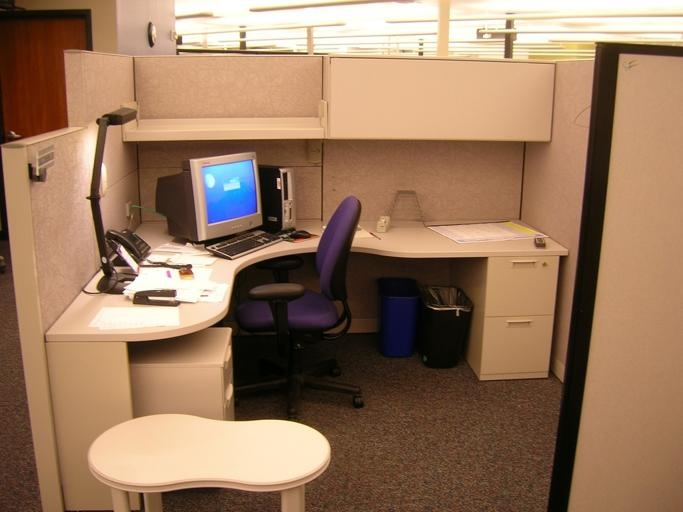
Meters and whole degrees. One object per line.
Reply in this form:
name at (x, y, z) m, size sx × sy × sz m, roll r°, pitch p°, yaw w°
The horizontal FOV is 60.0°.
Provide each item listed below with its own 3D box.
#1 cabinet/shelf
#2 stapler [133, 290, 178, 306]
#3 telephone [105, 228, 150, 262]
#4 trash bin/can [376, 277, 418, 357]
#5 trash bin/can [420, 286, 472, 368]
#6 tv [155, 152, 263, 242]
cabinet/shelf at (-0.652, 0.462, 2.484) m, size 0.358 × 0.325 × 0.351 m, roll -2°, pitch 9°, yaw -3°
stapler at (-0.753, 0.171, 2.436) m, size 0.190 × 0.042 × 0.096 m, roll 1°, pitch 17°, yaw 6°
telephone at (-1.028, -0.066, 2.859) m, size 0.172 × 0.059 × 0.176 m, roll 38°, pitch 1°, yaw -23°
trash bin/can at (0.426, 0.410, 3.708) m, size 0.360 × 0.488 × 0.357 m, roll 1°, pitch -9°, yaw 18°
trash bin/can at (0.629, 0.431, 3.637) m, size 0.301 × 0.383 × 0.466 m, roll 1°, pitch 12°, yaw -1°
tv at (-0.802, -0.345, 3.434) m, size 0.571 × 0.433 × 0.488 m, roll 6°, pitch 16°, yaw 40°
